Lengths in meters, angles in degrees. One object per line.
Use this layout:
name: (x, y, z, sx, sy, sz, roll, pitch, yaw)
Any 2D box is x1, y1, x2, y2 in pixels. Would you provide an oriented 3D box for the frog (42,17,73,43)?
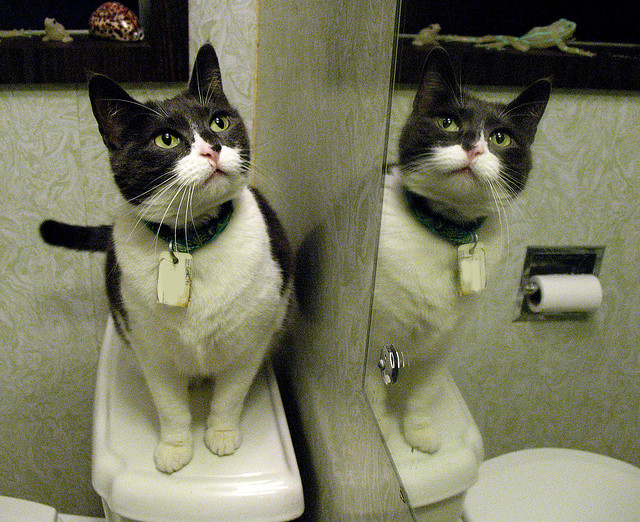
frog: (-0.453, -0.401, 0.967, 0.062, 0.037, 0.034, 10, 24, 13)

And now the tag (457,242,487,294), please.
tag: (0.119, 0.006, 0.440, 0.025, 0.038, 0.004, -3, 0, -13)

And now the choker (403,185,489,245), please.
choker: (0.114, -0.048, 0.493, 0.068, 0.043, 0.049, 2, 32, 0)
